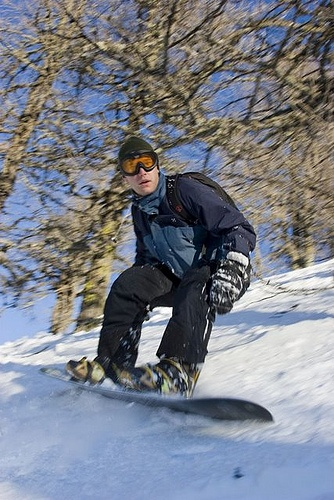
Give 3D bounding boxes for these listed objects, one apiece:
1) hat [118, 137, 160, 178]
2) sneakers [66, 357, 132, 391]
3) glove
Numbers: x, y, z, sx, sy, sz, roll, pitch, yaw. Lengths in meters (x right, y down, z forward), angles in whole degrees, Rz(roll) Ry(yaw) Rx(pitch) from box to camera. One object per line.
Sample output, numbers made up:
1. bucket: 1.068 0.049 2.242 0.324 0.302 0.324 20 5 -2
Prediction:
1. hat: -0.163 -0.508 2.894 0.183 0.206 0.227 -13 -54 2
2. sneakers: -0.375 0.631 2.779 0.436 0.116 0.158 9 -17 15
3. glove: 0.299 0.160 2.548 0.192 0.294 0.111 21 -17 24
